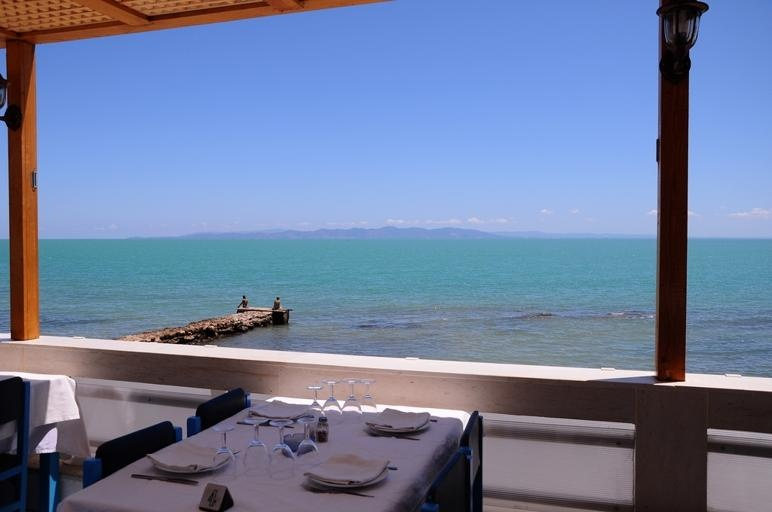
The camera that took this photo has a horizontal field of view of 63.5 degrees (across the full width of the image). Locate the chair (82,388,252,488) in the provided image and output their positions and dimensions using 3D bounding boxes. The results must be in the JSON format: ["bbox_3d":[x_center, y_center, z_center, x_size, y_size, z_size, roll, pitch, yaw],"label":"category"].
[{"bbox_3d":[-1.246,1.024,3.412,0.873,0.265,0.599,-12,1,36],"label":"chair"}]
